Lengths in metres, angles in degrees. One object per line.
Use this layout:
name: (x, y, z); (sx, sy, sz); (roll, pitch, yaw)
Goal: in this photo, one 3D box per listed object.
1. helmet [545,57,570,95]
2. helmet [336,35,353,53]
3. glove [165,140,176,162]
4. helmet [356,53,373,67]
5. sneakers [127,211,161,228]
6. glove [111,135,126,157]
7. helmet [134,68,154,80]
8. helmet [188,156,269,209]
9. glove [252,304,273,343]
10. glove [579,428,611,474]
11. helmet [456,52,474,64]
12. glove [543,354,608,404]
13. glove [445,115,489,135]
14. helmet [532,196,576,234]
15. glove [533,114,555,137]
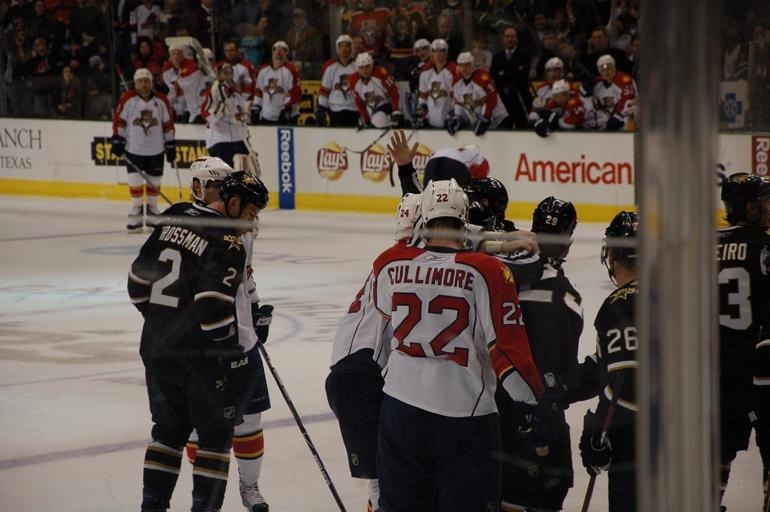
helmet: (1.702, -1.828, 10.797); (0.209, 0.359, 0.286); (-2, 6, 5)
helmet: (-0.468, -2.451, 12.270); (0.171, 0.202, 0.204); (0, 37, 1)
glove: (-2.276, -1.104, 11.377); (0.097, 0.216, 0.199); (-4, 6, -15)
helmet: (-0.229, -2.183, 11.914); (0.145, 0.169, 0.171); (0, 5, 3)
sneakers: (-1.059, -0.164, 4.842); (0.099, 0.109, 0.281); (-1, 3, -31)
glove: (-2.718, -1.134, 11.068); (0.113, 0.219, 0.236); (-1, 6, 15)
helmet: (-2.464, -1.859, 10.955); (0.155, 0.117, 0.156); (-5, 6, -27)
helmet: (-0.718, -0.330, 4.819); (0.332, 0.166, 0.242); (20, 3, 14)
glove: (-0.606, 0.340, 5.218); (0.123, 0.162, 0.067); (1, 10, -33)
glove: (0.815, 0.793, 4.231); (0.113, 0.222, 0.178); (-3, 6, -5)
helmet: (0.833, -2.065, 11.191); (0.120, 0.131, 0.146); (-1, -7, 14)
glove: (0.737, 0.513, 4.222); (0.233, 0.084, 0.151); (-43, -28, 19)
glove: (0.898, -1.341, 11.030); (0.299, 0.213, 0.582); (-6, 7, -34)
helmet: (0.698, -0.173, 4.359); (0.138, 0.159, 0.164); (21, 17, 13)
glove: (1.538, -1.248, 10.401); (0.204, 0.203, 0.173); (1, 7, 31)
